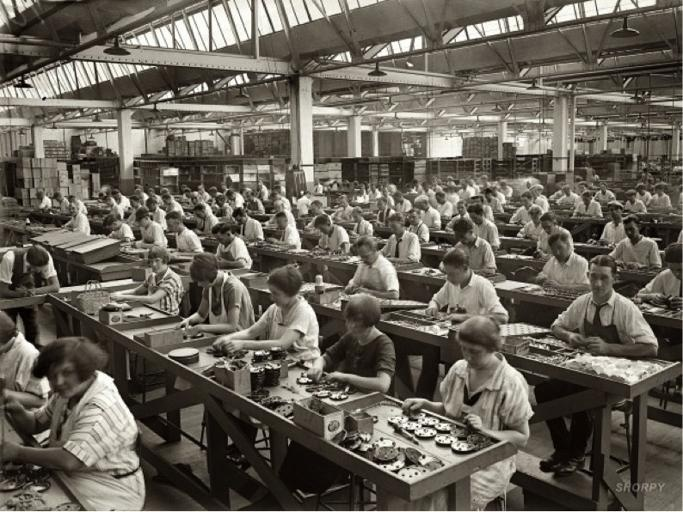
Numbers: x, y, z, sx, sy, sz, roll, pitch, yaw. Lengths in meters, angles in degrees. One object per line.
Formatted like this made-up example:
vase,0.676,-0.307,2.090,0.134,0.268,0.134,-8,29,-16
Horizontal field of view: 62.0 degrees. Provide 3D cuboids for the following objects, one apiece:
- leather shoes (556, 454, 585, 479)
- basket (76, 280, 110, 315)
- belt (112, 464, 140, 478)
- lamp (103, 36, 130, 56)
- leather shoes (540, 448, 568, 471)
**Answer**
leather shoes,2.112,1.922,5.274,0.360,0.138,0.136,-4,0,-39
basket,-3.099,0.523,7.061,0.349,0.375,0.201,-2,-4,28
belt,-1.567,1.561,4.129,0.047,0.067,0.209,5,9,41
lamp,-4.906,-4.566,12.390,0.431,0.429,0.778,-3,7,-17
leather shoes,2.011,1.894,5.311,0.315,0.143,0.109,-7,-1,-11
